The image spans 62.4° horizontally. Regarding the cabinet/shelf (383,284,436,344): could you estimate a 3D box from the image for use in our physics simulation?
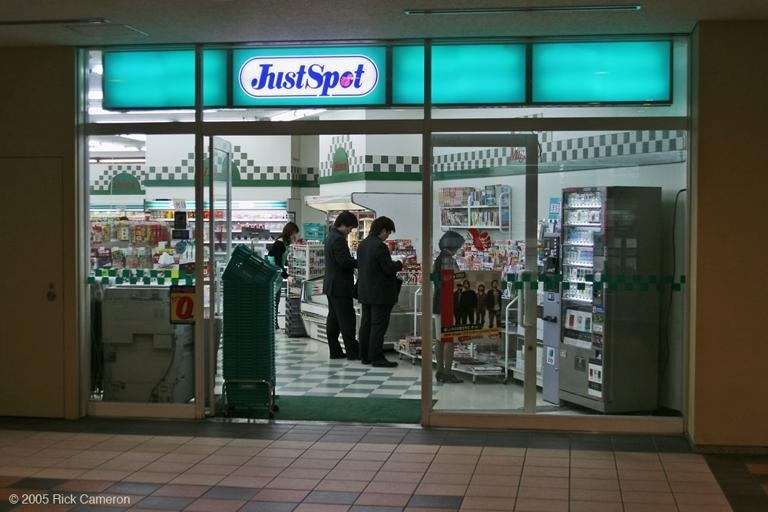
[{"bbox_3d":[0.544,0.982,9.771,0.630,0.851,0.617,4,-3,-19],"label":"cabinet/shelf"}]

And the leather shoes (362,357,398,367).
[{"bbox_3d":[-0.050,1.516,9.037,0.523,0.205,0.173,-1,-2,5],"label":"leather shoes"}]

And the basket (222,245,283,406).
[{"bbox_3d":[-1.448,0.806,6.914,0.607,1.794,0.382,-1,6,-5],"label":"basket"}]

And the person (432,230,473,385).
[{"bbox_3d":[0.666,0.530,6.520,0.328,1.558,0.206,1,6,6],"label":"person"}]

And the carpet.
[{"bbox_3d":[-0.403,1.702,7.109,1.641,0.025,0.905,0,6,3],"label":"carpet"}]

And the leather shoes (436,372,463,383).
[{"bbox_3d":[0.683,1.247,6.546,0.297,0.117,0.104,-1,-4,8],"label":"leather shoes"}]
